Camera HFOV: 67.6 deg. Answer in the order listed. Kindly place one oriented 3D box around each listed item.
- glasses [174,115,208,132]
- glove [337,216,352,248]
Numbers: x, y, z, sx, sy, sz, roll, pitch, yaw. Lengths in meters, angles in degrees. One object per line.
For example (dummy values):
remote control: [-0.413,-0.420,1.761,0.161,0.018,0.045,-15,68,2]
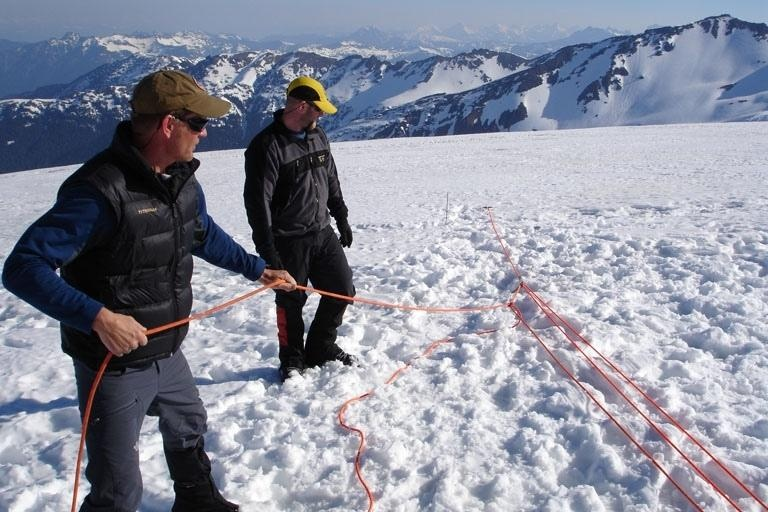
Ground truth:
glasses: [-1.830,-1.274,5.472,0.180,0.053,0.177,17,15,-3]
glove: [-0.563,-0.353,8.164,0.118,0.370,0.279,-11,17,4]
